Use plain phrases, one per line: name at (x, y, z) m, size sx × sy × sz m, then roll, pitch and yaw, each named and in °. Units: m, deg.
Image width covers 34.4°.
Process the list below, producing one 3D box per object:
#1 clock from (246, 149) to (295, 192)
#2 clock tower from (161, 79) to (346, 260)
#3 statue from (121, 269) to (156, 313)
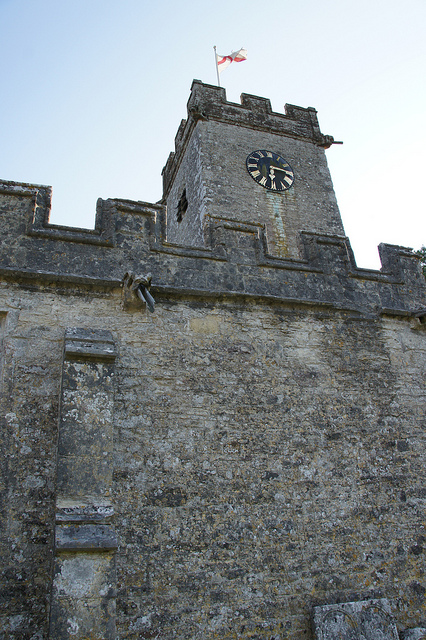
clock at (1.317, -3.463, 15.767) m, size 1.246 × 1.406 × 0.111 m, roll 12°, pitch -42°, yaw -23°
clock tower at (0.796, -2.582, 16.660) m, size 4.014 × 5.469 × 4.232 m, roll -2°, pitch -38°, yaw -2°
statue at (-0.810, -0.293, 7.356) m, size 0.345 × 0.459 × 0.307 m, roll -3°, pitch -4°, yaw -32°
